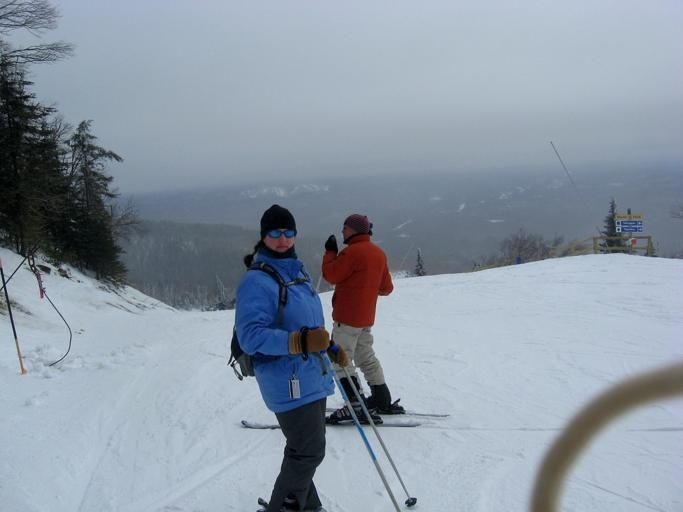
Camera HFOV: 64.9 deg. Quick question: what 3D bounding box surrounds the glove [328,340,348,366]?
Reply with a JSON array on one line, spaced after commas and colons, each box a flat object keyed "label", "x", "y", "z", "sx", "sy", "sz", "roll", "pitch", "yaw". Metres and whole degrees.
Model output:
[{"label": "glove", "x": -0.060, "y": 1.229, "z": 6.675, "sx": 0.117, "sy": 0.334, "sz": 0.244, "roll": -41, "pitch": 0, "yaw": 25}]

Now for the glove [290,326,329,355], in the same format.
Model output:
[{"label": "glove", "x": -0.393, "y": 0.999, "z": 6.292, "sx": 0.373, "sy": 0.189, "sz": 0.287, "roll": -1, "pitch": -1, "yaw": -11}]

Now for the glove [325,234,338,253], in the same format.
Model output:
[{"label": "glove", "x": -0.163, "y": -0.183, "z": 8.572, "sx": 0.162, "sy": 0.296, "sz": 0.282, "roll": 4, "pitch": 12, "yaw": -3}]
